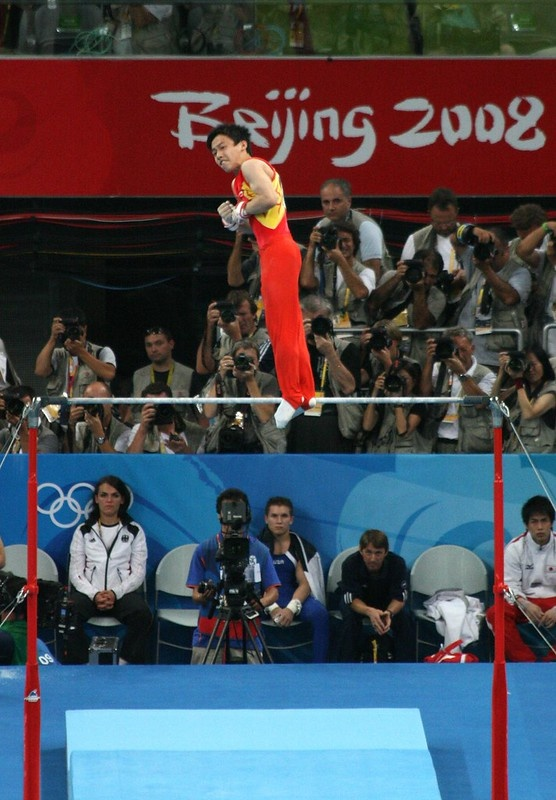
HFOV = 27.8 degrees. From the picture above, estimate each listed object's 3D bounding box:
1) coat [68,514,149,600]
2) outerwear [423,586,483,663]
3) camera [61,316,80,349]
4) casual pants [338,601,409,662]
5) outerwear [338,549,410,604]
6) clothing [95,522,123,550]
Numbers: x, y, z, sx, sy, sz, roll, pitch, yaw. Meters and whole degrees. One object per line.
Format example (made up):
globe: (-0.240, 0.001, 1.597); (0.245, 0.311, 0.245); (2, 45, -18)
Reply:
coat: (-0.874, 0.813, 5.768); (0.406, 0.378, 0.234); (1, 2, -1)
outerwear: (0.899, 1.122, 5.649); (0.321, 0.288, 0.108); (-6, -27, -6)
camera: (-1.128, -0.373, 6.202); (0.122, 0.147, 0.129); (0, 16, -1)
casual pants: (0.575, 1.212, 5.751); (0.386, 0.271, 0.362); (-9, -12, 14)
outerwear: (0.491, 0.924, 5.712); (0.338, 0.283, 0.168); (-2, 4, 1)
clothing: (-0.866, 0.690, 5.756); (0.110, 0.124, 0.119); (-3, 30, -4)
